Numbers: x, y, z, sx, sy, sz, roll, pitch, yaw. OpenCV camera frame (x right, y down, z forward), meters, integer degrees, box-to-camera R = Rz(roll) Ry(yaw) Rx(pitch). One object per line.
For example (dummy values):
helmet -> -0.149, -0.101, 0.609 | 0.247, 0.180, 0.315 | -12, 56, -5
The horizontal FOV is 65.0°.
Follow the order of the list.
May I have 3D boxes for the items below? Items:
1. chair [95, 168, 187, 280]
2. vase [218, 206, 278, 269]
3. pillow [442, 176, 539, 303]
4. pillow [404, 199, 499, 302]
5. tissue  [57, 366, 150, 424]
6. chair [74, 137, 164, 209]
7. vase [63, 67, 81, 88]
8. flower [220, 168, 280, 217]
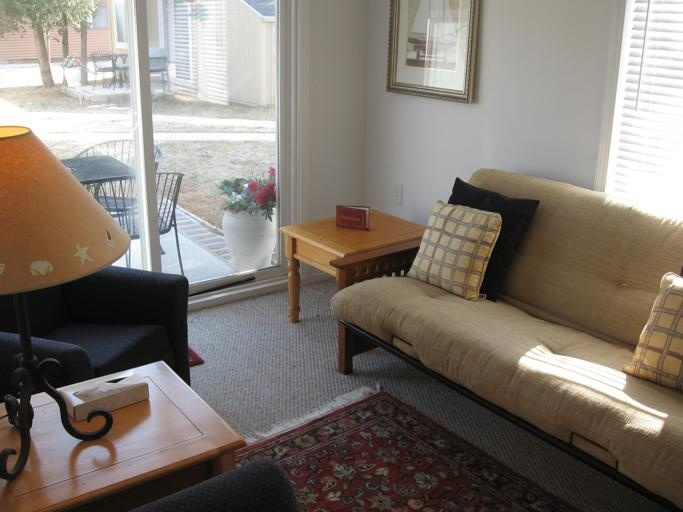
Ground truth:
chair -> -1.261, -0.248, 3.686 | 0.637, 0.742, 0.542 | -8, 15, -27
vase -> -0.709, -0.153, 3.991 | 0.394, 0.415, 0.375 | -8, 18, -27
pillow -> 0.794, -0.074, 2.775 | 0.535, 0.520, 0.163 | 30, 9, 41
pillow -> 0.575, -0.010, 2.739 | 0.230, 0.388, 0.433 | -14, 29, -38
tissue  -> -0.776, 0.440, 1.740 | 0.221, 0.079, 0.117 | -16, 32, -39
chair -> -1.414, -0.548, 3.378 | 0.372, 0.497, 0.407 | -12, 47, -38
vase -> -1.518, -1.017, 3.052 | 0.105, 0.086, 0.101 | -12, 27, -29
flower -> -0.632, -0.425, 3.743 | 0.416, 0.342, 0.091 | -10, 26, -31
